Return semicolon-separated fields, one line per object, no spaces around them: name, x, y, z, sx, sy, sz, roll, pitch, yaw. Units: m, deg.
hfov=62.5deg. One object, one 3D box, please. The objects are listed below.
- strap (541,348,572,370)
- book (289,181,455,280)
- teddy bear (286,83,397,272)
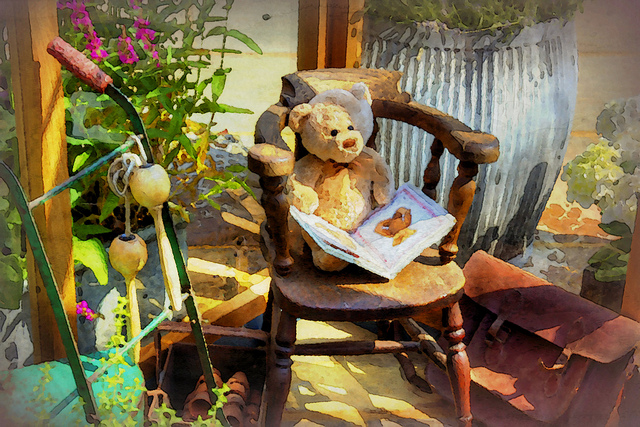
strap;0.827;0.509;1.843;0.030;0.074;0.054;32;32;-7
book;0.166;0.046;1.693;0.471;0.267;0.239;-1;13;-28
teddy bear;0.065;-0.111;1.724;0.392;0.523;0.298;-24;41;-20
